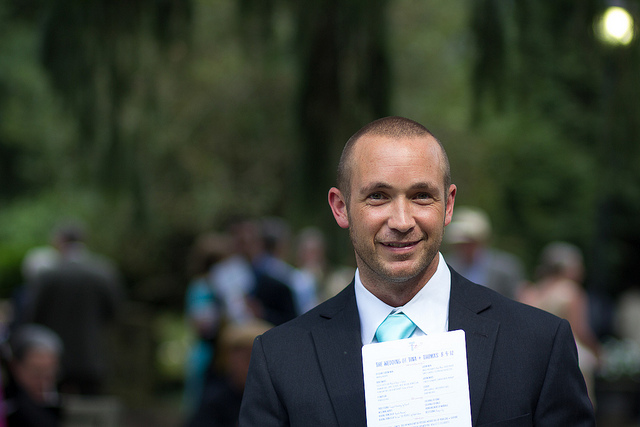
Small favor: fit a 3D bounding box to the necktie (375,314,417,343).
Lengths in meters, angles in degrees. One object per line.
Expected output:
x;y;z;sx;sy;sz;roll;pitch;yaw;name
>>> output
0.399;0.590;5.102;0.219;0.134;0.054;-2;-5;-1;necktie
